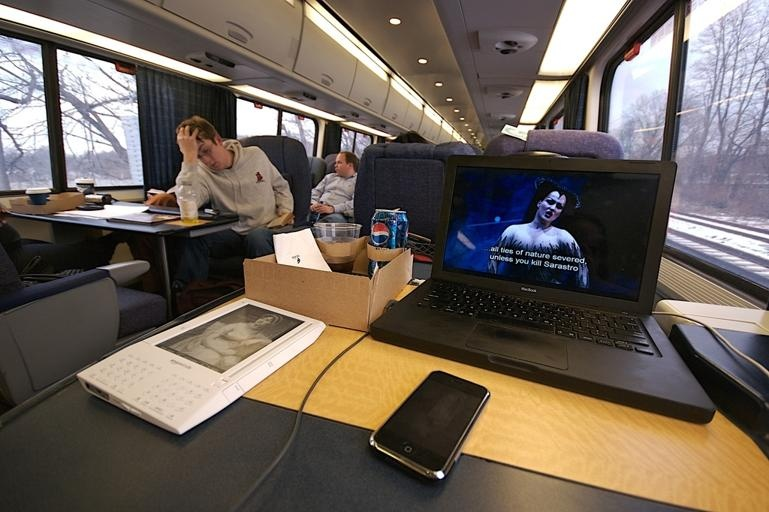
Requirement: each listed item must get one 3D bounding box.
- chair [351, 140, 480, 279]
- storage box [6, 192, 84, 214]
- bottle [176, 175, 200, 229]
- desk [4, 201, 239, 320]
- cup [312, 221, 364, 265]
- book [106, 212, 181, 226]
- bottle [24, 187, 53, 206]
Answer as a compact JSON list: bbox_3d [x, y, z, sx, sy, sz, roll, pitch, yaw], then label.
[{"bbox_3d":[0.130,-0.281,2.432,0.560,0.709,0.734,5,15,12],"label":"chair"},{"bbox_3d":[-2.179,-0.332,3.047,0.238,0.081,0.262,3,10,18],"label":"storage box"},{"bbox_3d":[-1.144,-0.295,2.742,0.094,0.210,0.220,-5,17,-23],"label":"bottle"},{"bbox_3d":[-1.488,0.022,2.724,0.762,0.355,0.390,9,16,17],"label":"desk"},{"bbox_3d":[-0.176,-0.043,1.845,0.174,0.128,0.171,0,0,0],"label":"cup"},{"bbox_3d":[-1.401,-0.216,2.775,0.353,0.015,0.295,6,15,18],"label":"book"},{"bbox_3d":[-2.221,-0.371,3.047,0.178,0.123,0.171,0,3,0],"label":"bottle"}]
